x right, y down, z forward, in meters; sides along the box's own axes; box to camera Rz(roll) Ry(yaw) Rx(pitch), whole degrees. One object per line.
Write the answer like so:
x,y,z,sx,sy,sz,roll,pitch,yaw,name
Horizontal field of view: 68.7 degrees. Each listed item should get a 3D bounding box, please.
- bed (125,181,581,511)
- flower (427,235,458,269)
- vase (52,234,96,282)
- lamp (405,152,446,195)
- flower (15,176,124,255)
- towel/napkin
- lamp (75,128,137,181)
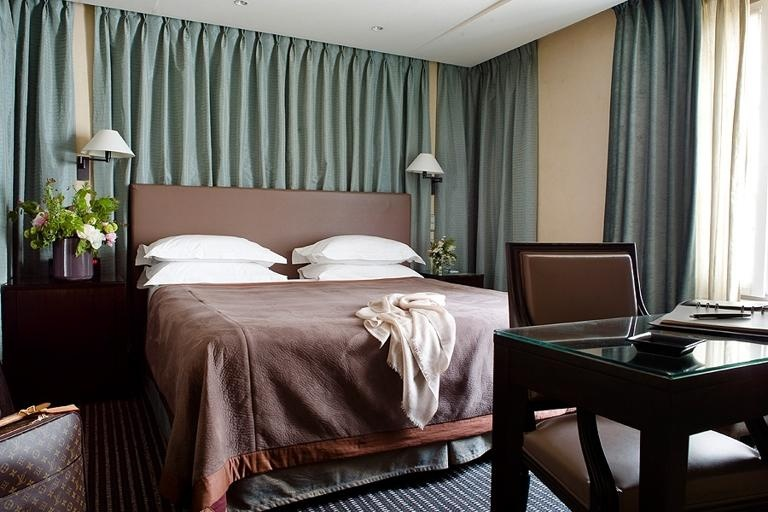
-0.726,0.559,3.719,2.227,1.262,2.192,0,1,-24,bed
0.565,-0.024,5.416,0.300,0.294,0.299,1,-1,-29,flower
-2.186,0.016,3.983,0.256,0.266,0.244,-1,8,1,vase
0.428,-0.782,5.404,0.357,0.389,0.343,2,-1,-32,lamp
-2.216,-0.325,4.001,0.632,0.344,0.614,5,42,-28,flower
0.122,0.561,3.016,0.521,0.628,0.524,-2,6,-3,towel/napkin
-2.138,-0.834,4.309,0.411,0.297,0.365,-4,6,-23,lamp
